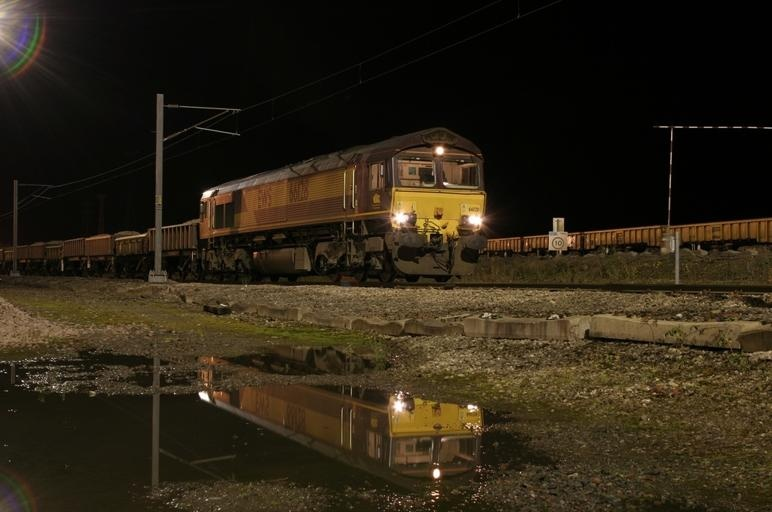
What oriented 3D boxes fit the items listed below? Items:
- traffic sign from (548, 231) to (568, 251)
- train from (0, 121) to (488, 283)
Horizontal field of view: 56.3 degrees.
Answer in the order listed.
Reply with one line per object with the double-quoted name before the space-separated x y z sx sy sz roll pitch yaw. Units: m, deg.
"traffic sign" 6.800 -0.598 28.401 0.698 0.744 1.285 3 5 11
"train" -4.741 -1.701 33.360 3.857 7.183 23.868 -2 7 -36
